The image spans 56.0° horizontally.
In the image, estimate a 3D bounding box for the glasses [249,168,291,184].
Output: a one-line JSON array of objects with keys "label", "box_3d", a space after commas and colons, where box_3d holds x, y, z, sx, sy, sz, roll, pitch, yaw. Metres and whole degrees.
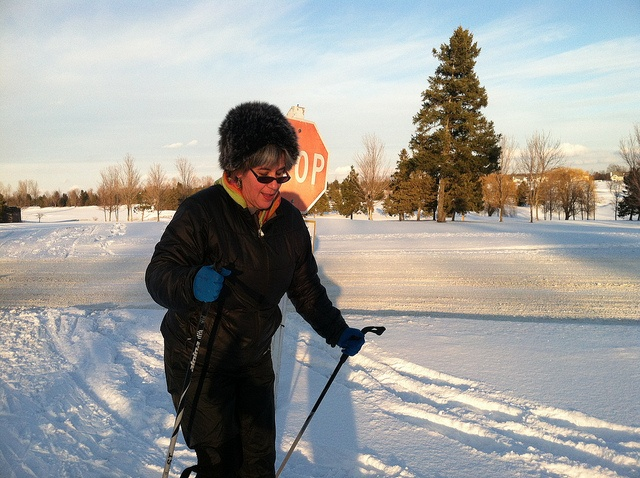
[{"label": "glasses", "box_3d": [-0.394, -0.502, 4.838, 0.337, 0.116, 0.152, -1, 2, -23]}]
